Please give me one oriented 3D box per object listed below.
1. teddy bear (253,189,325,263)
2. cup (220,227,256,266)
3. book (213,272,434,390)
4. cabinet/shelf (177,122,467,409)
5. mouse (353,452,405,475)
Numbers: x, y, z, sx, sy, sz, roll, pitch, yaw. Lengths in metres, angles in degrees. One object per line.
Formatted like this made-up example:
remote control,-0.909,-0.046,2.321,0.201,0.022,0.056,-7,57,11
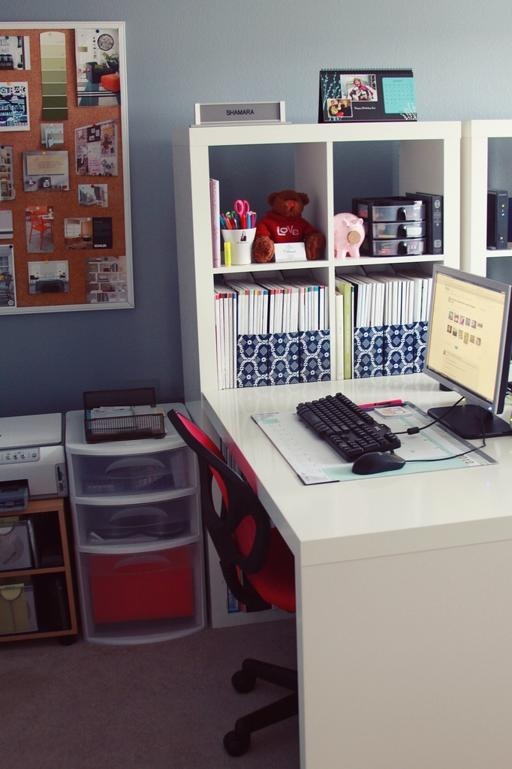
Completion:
teddy bear,0.093,-0.498,1.965,0.230,0.224,0.249,-3,9,-5
cup,-0.048,-0.409,1.845,0.108,0.108,0.105,0,10,0
book,0.209,-0.166,1.931,0.866,0.435,0.318,-3,10,-12
cabinet/shelf,0.203,-0.346,1.890,0.880,0.860,0.299,-3,13,-10
mouse,0.239,0.154,1.200,0.078,0.027,0.047,-7,13,-23
